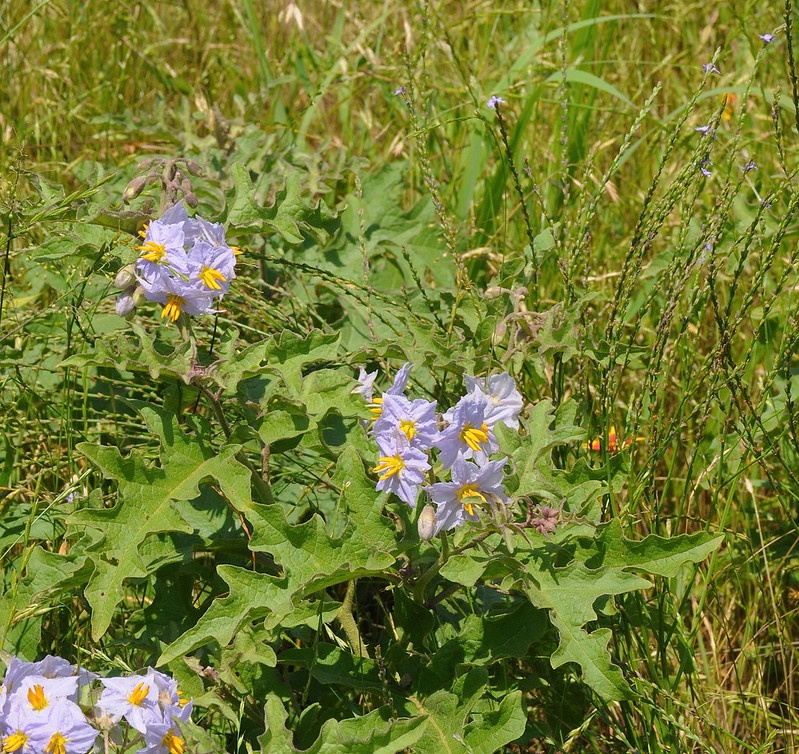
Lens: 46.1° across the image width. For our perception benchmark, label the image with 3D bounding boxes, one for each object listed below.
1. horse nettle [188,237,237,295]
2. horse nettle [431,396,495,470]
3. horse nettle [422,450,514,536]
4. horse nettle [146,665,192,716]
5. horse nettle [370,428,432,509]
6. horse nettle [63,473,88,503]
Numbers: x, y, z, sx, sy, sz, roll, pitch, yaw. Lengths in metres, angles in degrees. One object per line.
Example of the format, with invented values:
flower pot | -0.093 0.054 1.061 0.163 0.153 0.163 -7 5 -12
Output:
horse nettle | -0.435 -0.256 2.182 0.109 0.123 0.034 -38 19 -31
horse nettle | 0.141 0.104 1.987 0.053 0.144 0.124 34 40 30
horse nettle | 0.137 0.245 1.947 0.153 0.155 0.080 -39 38 1
horse nettle | -0.493 0.676 2.005 0.046 0.090 0.112 -21 78 7
horse nettle | -0.002 0.190 1.978 0.099 0.177 0.119 -5 16 -7
horse nettle | -0.849 0.294 2.468 0.024 0.118 0.037 -17 61 -21
